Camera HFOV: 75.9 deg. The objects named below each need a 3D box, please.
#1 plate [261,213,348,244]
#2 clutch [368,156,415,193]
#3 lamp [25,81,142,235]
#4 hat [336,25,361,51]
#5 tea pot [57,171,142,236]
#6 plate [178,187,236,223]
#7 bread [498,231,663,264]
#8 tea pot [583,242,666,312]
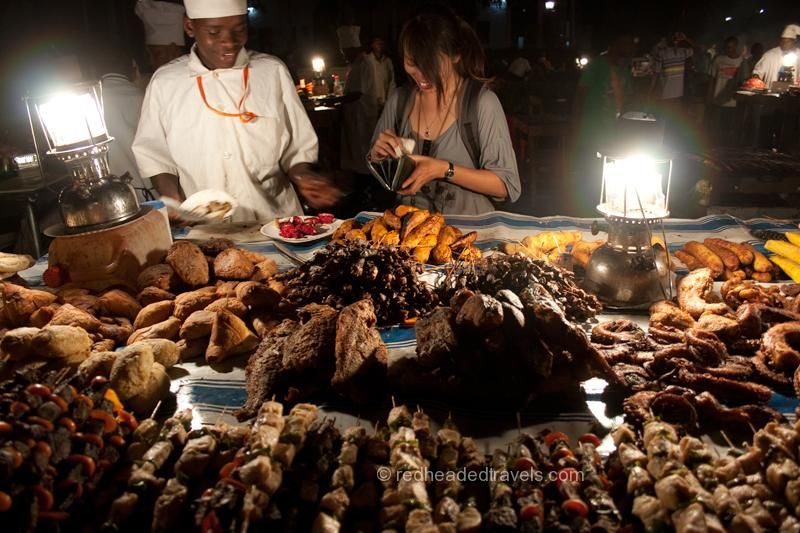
[{"bbox_3d":[-0.922,-0.369,4.836,0.771,0.220,0.512,-7,14,-7],"label":"plate"},{"bbox_3d":[-0.064,-0.834,4.728,0.403,0.243,0.389,-2,-6,25],"label":"clutch"},{"bbox_3d":[-2.413,-0.861,3.971,0.540,1.101,0.435,-14,17,-30],"label":"lamp"},{"bbox_3d":[-1.356,-6.264,14.045,0.741,0.557,0.655,-1,18,-1],"label":"hat"},{"bbox_3d":[-2.371,-0.528,4.139,0.569,0.465,0.419,-7,15,-1],"label":"tea pot"},{"bbox_3d":[-1.726,-0.554,4.636,0.381,0.220,0.304,4,6,22],"label":"plate"},{"bbox_3d":[1.326,-0.165,4.122,0.897,0.209,0.521,1,7,-11],"label":"bread"},{"bbox_3d":[1.513,0.035,3.663,0.514,0.437,0.471,-1,10,0],"label":"tea pot"}]
